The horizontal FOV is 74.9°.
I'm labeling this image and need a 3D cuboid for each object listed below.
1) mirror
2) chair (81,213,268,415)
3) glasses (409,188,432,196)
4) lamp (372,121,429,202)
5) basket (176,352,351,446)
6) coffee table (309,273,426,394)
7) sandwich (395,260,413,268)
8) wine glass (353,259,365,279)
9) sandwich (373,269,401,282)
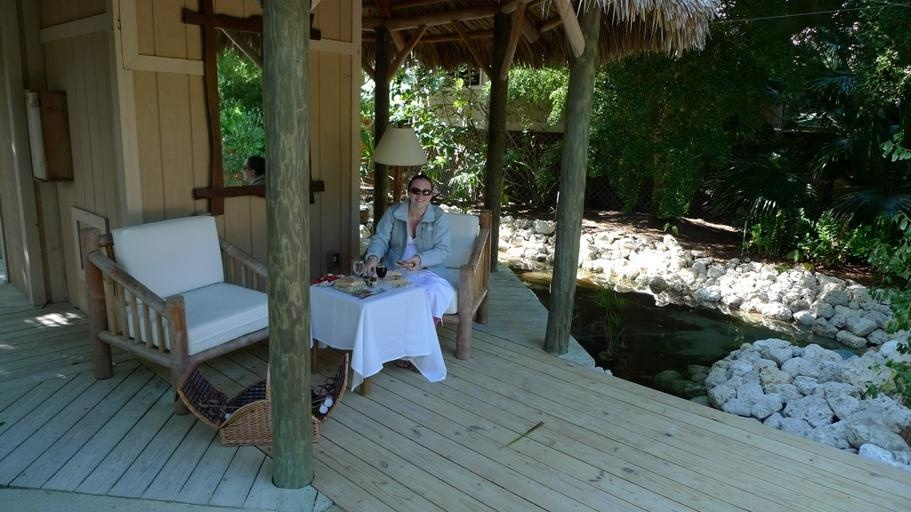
[{"bbox_3d":[-2.651,-1.669,6.808,0.832,2.382,0.328,-6,15,-26],"label":"mirror"},{"bbox_3d":[-2.736,0.493,6.349,2.009,1.459,2.059,5,15,-1],"label":"chair"},{"bbox_3d":[-0.397,-0.728,6.802,0.226,0.089,0.062,0,14,-6],"label":"glasses"},{"bbox_3d":[-0.763,-1.067,7.992,0.738,1.319,0.727,10,16,18],"label":"lamp"},{"bbox_3d":[-1.792,1.421,5.609,1.374,0.554,0.855,2,11,-4],"label":"basket"},{"bbox_3d":[-0.930,0.662,6.151,1.074,0.615,1.048,16,19,40],"label":"coffee table"},{"bbox_3d":[-0.541,0.092,6.614,0.148,0.087,0.058,3,-25,3],"label":"sandwich"},{"bbox_3d":[-1.003,0.142,6.220,0.131,0.211,0.131,16,23,38],"label":"wine glass"},{"bbox_3d":[-0.700,0.213,6.234,0.168,0.062,0.171,3,13,3],"label":"sandwich"}]
